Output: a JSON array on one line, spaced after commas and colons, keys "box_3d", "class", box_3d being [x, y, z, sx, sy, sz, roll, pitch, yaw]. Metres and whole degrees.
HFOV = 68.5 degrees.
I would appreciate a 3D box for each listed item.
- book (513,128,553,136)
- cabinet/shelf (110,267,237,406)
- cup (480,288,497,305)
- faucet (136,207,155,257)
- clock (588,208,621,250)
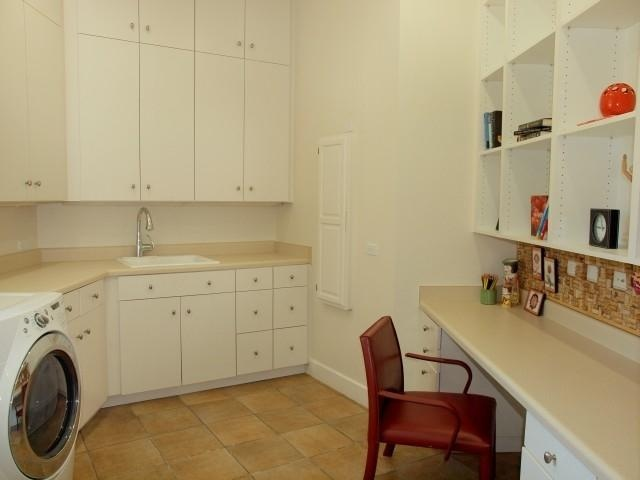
[{"box_3d": [1.187, -0.601, 2.610, 0.105, 0.027, 0.111, -2, -1, 1], "class": "book"}, {"box_3d": [-1.173, 0.776, 3.953, 0.884, 0.921, 0.610, -1, -16, -20], "class": "cabinet/shelf"}, {"box_3d": [1.130, 0.382, 3.159, 0.105, 0.116, 0.088, 0, 0, 40], "class": "cup"}, {"box_3d": [-1.507, -0.062, 4.039, 0.149, 0.436, 0.351, -3, 9, -20], "class": "faucet"}, {"box_3d": [1.296, -0.057, 2.187, 0.091, 0.179, 0.181, -3, 9, -17], "class": "clock"}]
